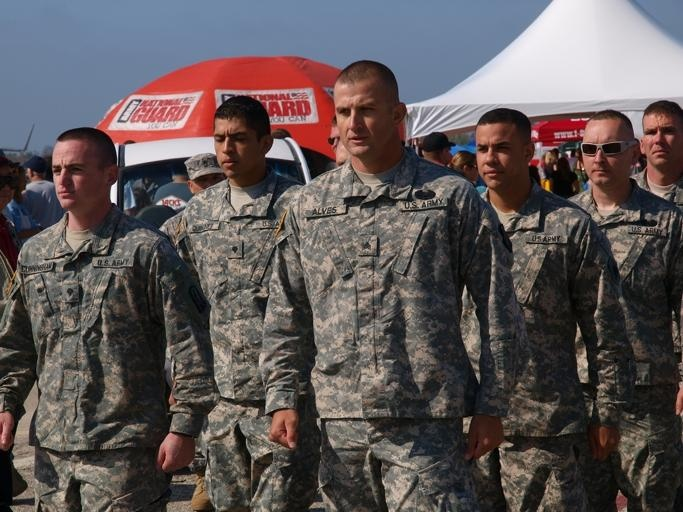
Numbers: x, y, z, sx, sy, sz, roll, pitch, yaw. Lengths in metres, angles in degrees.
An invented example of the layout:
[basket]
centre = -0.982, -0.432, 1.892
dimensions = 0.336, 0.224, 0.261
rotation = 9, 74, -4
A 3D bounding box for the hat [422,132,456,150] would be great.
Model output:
[hat]
centre = 0.838, -0.999, 10.084
dimensions = 0.257, 0.137, 0.176
rotation = -8, 14, -39
